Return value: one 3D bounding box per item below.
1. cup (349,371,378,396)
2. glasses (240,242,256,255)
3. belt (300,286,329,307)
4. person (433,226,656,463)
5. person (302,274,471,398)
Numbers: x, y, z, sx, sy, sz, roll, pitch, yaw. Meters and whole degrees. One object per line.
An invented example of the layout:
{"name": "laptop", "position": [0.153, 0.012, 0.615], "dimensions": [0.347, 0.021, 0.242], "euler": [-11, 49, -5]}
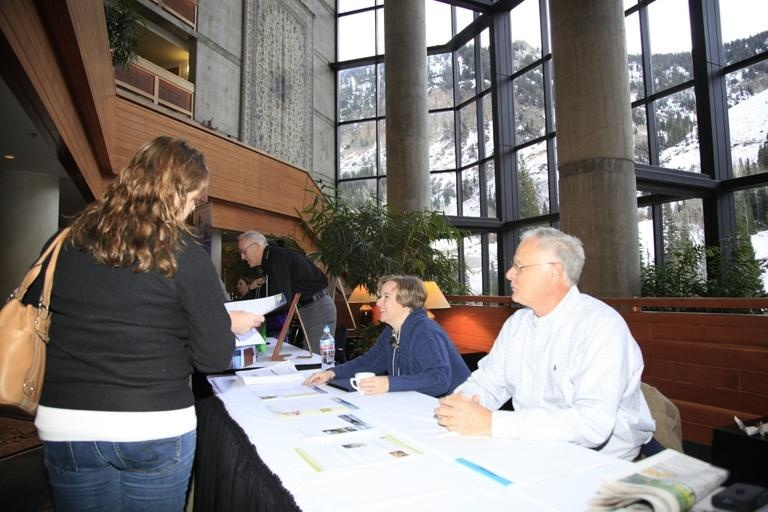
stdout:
{"name": "cup", "position": [-0.118, 0.708, 2.725], "dimensions": [0.115, 0.091, 0.101], "euler": [1, 1, 3]}
{"name": "glasses", "position": [-1.213, -0.063, 4.354], "dimensions": [0.108, 0.033, 0.104], "euler": [-22, 12, -13]}
{"name": "belt", "position": [-0.657, 0.385, 4.636], "dimensions": [0.179, 0.063, 0.185], "euler": [-20, 6, 29]}
{"name": "person", "position": [0.845, 0.524, 2.522], "dimensions": [1.184, 1.290, 0.927], "euler": [2, -5, -9]}
{"name": "person", "position": [0.017, 0.427, 3.049], "dimensions": [0.920, 0.655, 0.709], "euler": [2, -3, -12]}
